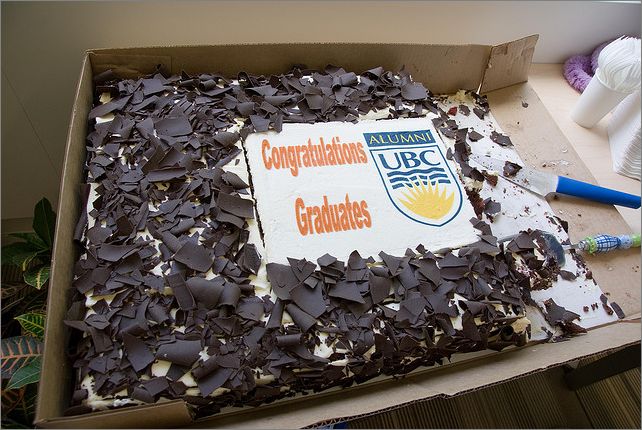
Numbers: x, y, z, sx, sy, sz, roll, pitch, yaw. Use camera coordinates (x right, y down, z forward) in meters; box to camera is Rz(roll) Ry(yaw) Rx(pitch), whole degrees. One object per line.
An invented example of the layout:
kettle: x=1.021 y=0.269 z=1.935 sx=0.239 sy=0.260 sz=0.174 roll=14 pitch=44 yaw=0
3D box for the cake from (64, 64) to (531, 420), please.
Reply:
cake: x=-0.103 y=0.005 z=1.745 sx=1.450 sy=0.397 sz=1.173 roll=-6 pitch=57 yaw=-7

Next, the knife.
knife: x=0.908 y=-0.126 z=1.975 sx=0.892 sy=0.067 sz=0.151 roll=10 pitch=97 yaw=0
